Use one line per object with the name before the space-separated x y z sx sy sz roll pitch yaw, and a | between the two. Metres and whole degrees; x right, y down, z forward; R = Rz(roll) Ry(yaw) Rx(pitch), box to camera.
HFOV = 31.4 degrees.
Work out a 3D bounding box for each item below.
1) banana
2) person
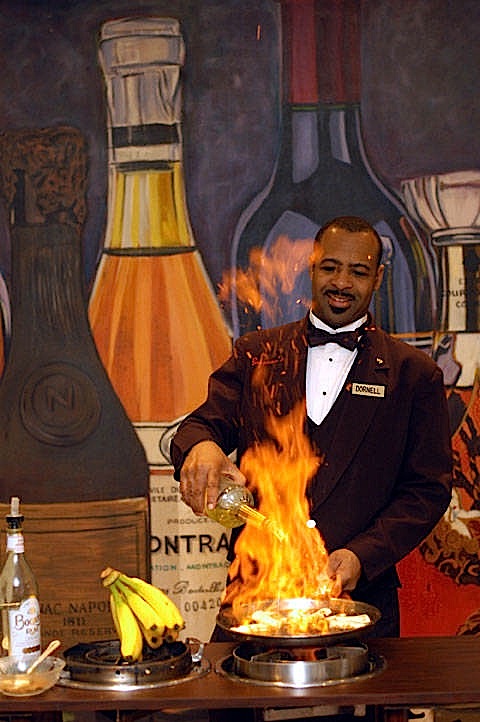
banana | -0.241 0.599 2.024 0.173 0.213 0.103 -29 -5 1
person | 0.229 0.213 2.643 0.878 1.287 0.946 -1 11 -4
